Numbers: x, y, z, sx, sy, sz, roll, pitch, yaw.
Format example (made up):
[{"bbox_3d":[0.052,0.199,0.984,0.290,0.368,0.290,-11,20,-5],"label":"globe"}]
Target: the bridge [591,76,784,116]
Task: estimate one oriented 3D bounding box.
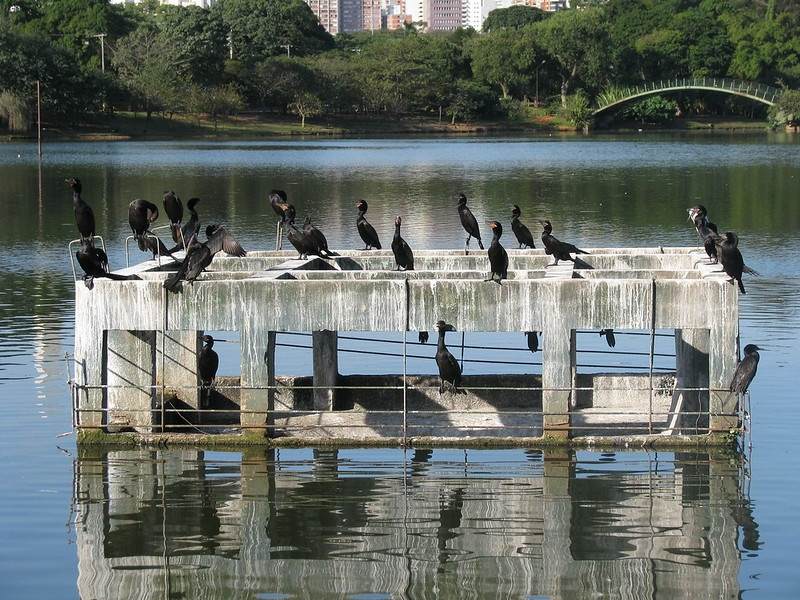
[{"bbox_3d":[33.269,-24.028,248.033,10.576,3.580,26.487,-6,6,-31],"label":"bridge"}]
